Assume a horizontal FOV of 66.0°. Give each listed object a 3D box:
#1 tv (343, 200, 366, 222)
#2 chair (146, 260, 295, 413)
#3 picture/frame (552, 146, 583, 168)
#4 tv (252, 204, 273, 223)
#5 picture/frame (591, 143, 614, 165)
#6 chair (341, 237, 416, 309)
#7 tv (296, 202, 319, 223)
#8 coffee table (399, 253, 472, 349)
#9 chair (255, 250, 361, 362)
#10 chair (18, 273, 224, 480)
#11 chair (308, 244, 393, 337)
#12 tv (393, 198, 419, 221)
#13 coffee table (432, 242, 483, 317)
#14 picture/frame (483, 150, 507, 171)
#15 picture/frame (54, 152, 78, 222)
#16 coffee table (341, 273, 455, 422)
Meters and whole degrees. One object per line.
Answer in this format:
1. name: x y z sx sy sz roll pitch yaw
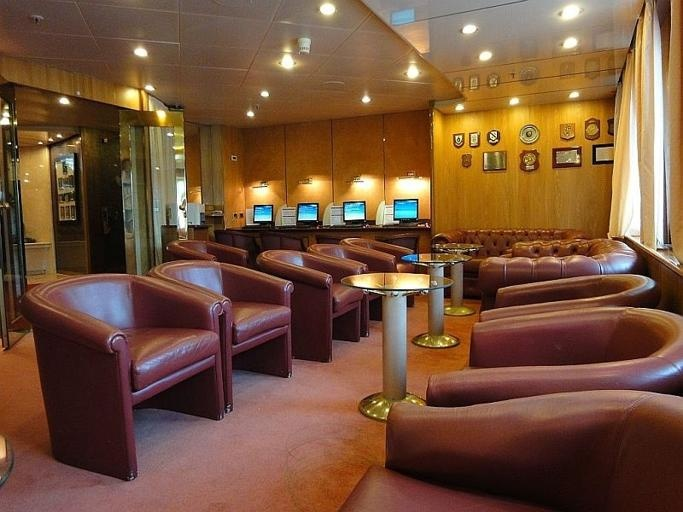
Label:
1. tv: 0.235 -0.785 9.431 0.389 0.383 0.127 0 -4 5
2. chair: -0.907 0.530 4.091 0.960 0.968 0.977 -8 8 -40
3. picture/frame: 3.496 -1.513 8.078 0.263 0.313 0.160 -19 2 17
4. tv: -1.531 -0.802 10.218 0.366 0.365 0.129 1 -7 2
5. picture/frame: 3.925 -1.522 7.873 0.309 0.275 0.207 7 10 37
6. chair: 0.404 0.088 6.063 0.543 0.530 0.573 0 2 25
7. tv: -0.637 -0.797 9.868 0.366 0.366 0.121 1 -4 2
8. coffee table: 0.820 0.444 5.261 0.744 0.899 0.776 5 1 -10
9. chair: -0.312 0.394 4.996 0.872 0.874 1.007 3 5 25
10. chair: -1.355 0.672 3.325 0.804 0.997 0.877 6 13 30
11. chair: 0.284 0.356 5.871 0.778 0.864 0.772 -20 4 38
12. tv: 1.102 -0.777 9.008 0.362 0.345 0.130 0 -5 7
13. coffee table: 1.520 0.318 6.594 0.620 0.764 0.613 -14 -18 34
14. picture/frame: 2.503 -1.539 8.513 0.344 0.293 0.034 -1 -3 12
15. picture/frame: -4.862 -1.166 9.321 0.971 1.314 0.112 2 5 43
16. coffee table: 0.362 0.616 3.975 0.881 0.990 0.895 0 0 0
